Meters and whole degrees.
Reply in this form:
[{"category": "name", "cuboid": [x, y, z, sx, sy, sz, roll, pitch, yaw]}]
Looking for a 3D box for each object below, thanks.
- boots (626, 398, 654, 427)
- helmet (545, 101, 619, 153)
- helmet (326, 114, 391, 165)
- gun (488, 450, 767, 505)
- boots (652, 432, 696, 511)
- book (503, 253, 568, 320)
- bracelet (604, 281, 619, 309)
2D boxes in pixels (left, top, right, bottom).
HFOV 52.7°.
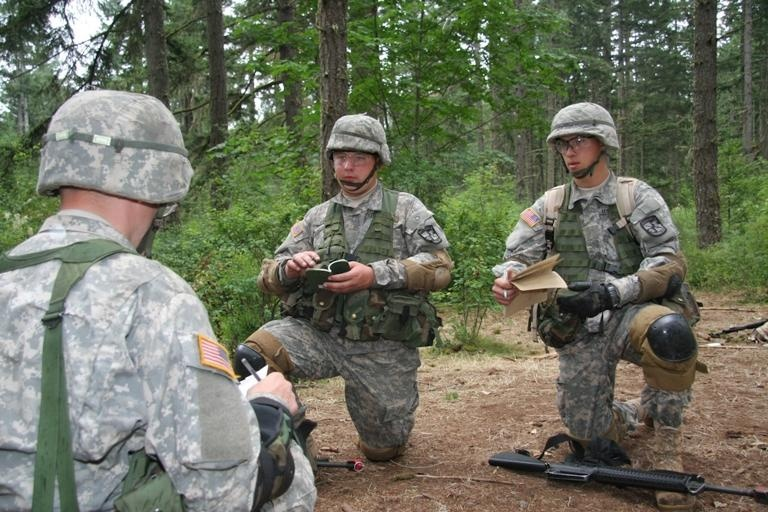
[{"category": "boots", "cuboid": [2.426, 1.507, 7.407, 0.348, 0.226, 0.144, -8, -18, -26]}, {"category": "helmet", "cuboid": [1.893, -1.201, 7.135, 0.506, 0.305, 0.512, 2, 5, 43]}, {"category": "helmet", "cuboid": [-0.203, -1.096, 7.375, 0.494, 0.355, 0.490, 0, -6, 9]}, {"category": "gun", "cuboid": [2.093, 1.895, 6.586, 1.292, 0.179, 0.348, 3, 9, 25]}, {"category": "boots", "cuboid": [2.439, 1.865, 6.562, 0.311, 0.738, 0.219, -10, -39, 19]}, {"category": "book", "cuboid": [1.296, 0.253, 6.637, 0.500, 0.501, 0.300, -1, -1, 8]}, {"category": "bracelet", "cuboid": [1.976, 0.338, 6.685, 0.116, 0.227, 0.104, -1, -1, 11]}]
